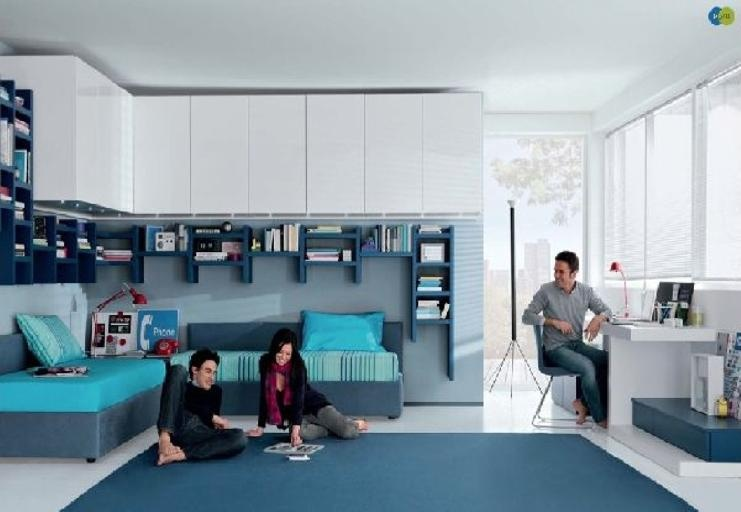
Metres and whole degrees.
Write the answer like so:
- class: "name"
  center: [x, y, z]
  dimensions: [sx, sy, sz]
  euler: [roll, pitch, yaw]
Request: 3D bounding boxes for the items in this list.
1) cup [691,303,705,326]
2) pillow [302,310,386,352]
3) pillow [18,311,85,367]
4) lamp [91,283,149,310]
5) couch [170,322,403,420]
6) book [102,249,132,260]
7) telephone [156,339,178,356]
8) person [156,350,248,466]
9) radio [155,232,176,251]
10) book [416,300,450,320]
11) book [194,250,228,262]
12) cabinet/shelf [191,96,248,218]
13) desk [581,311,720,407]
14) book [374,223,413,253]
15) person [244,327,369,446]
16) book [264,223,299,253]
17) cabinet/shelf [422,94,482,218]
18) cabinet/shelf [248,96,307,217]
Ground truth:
- class: "cup"
  center: [3.028, 0.550, 5.401]
  dimensions: [0.106, 0.180, 0.111]
  euler: [0, 11, 0]
- class: "pillow"
  center: [-0.305, 0.820, 6.283]
  dimensions: [0.545, 0.157, 0.514]
  euler: [1, 33, -1]
- class: "pillow"
  center: [-3.025, 0.719, 5.696]
  dimensions: [0.635, 0.648, 0.180]
  euler: [-9, 15, 0]
- class: "lamp"
  center: [-2.746, 0.461, 6.564]
  dimensions: [0.719, 0.325, 0.321]
  euler: [5, 12, 23]
- class: "couch"
  center: [-0.860, 1.211, 6.329]
  dimensions: [2.435, 1.042, 0.986]
  euler: [0, -6, 1]
- class: "book"
  center: [-2.830, -0.009, 6.540]
  dimensions: [0.330, 0.108, 0.078]
  euler: [0, 11, 2]
- class: "telephone"
  center: [-2.241, 0.994, 6.462]
  dimensions: [0.195, 0.202, 0.145]
  euler: [-3, 4, -25]
- class: "person"
  center: [-1.362, 1.195, 4.694]
  dimensions: [0.652, 0.983, 0.664]
  euler: [-18, -33, 31]
- class: "radio"
  center: [-2.284, -0.166, 6.532]
  dimensions: [0.235, 0.195, 0.140]
  euler: [-2, 11, -8]
- class: "book"
  center: [0.679, 0.605, 6.604]
  dimensions: [0.238, 0.157, 0.248]
  euler: [1, -1, 0]
- class: "book"
  center: [-1.772, 0.000, 6.516]
  dimensions: [0.369, 0.094, 0.106]
  euler: [0, 11, 1]
- class: "cabinet/shelf"
  center: [-1.664, -1.131, 6.458]
  dimensions: [0.635, 1.243, 0.377]
  euler: [-2, 11, -9]
- class: "desk"
  center: [2.710, 0.981, 5.634]
  dimensions: [0.779, 0.851, 0.848]
  euler: [1, 0, 0]
- class: "book"
  center: [0.268, -0.154, 6.628]
  dimensions: [0.466, 0.494, 0.279]
  euler: [0, -3, 0]
- class: "person"
  center: [-0.408, 1.159, 5.148]
  dimensions: [1.084, 0.935, 0.480]
  euler: [11, -16, -42]
- class: "book"
  center: [-0.967, -0.200, 6.595]
  dimensions: [0.373, 0.389, 0.285]
  euler: [2, 3, 15]
- class: "cabinet/shelf"
  center: [0.901, -1.144, 6.472]
  dimensions: [0.649, 1.285, 0.290]
  euler: [1, 11, 4]
- class: "cabinet/shelf"
  center: [-1.022, -1.132, 6.461]
  dimensions: [0.601, 1.242, 0.280]
  euler: [0, 10, -1]
